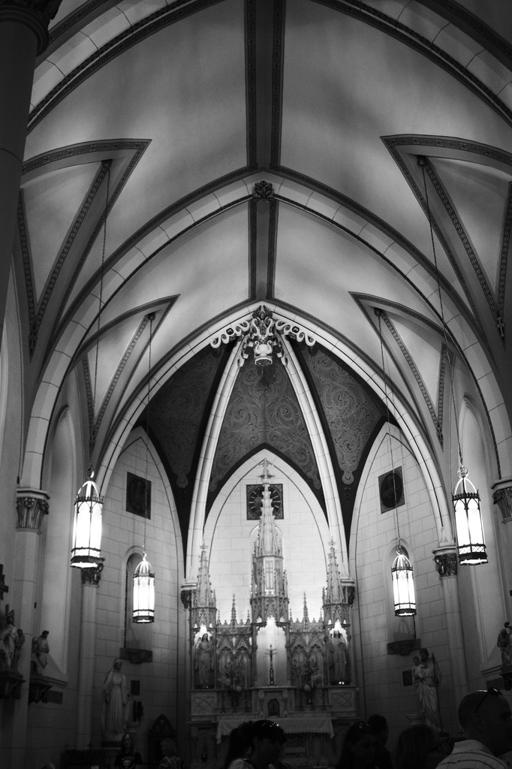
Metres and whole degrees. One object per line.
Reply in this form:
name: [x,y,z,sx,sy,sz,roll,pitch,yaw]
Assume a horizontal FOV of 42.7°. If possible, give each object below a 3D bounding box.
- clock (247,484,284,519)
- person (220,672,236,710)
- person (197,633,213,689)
clock: [0.227,2.860,15.889,0.893,1.139,0.089,0,-35,3]
person: [-0.532,6.449,13.831,0.432,1.053,0.481,2,-20,-3]
person: [-1.073,5.722,13.627,0.300,1.067,0.263,2,0,-4]
